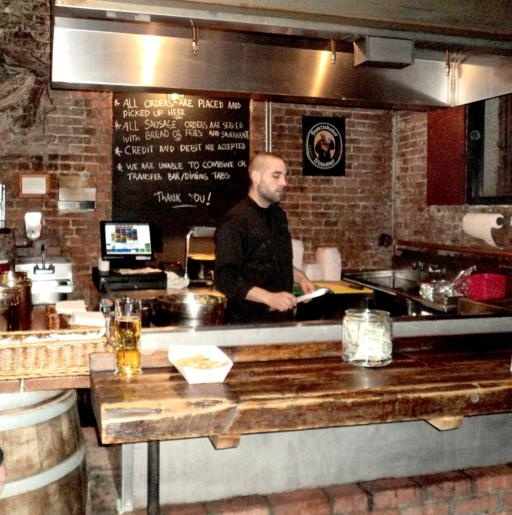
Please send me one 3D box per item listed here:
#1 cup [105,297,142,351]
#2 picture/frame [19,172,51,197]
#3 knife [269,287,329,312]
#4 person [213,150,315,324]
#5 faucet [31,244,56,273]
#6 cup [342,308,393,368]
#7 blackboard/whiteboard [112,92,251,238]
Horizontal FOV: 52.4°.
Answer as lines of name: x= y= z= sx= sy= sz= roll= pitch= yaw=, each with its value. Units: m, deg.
cup: x=-0.344 y=0.168 z=1.358 sx=0.086 sy=0.130 sz=0.136 roll=0 pitch=11 yaw=-15
picture/frame: x=-1.728 y=-0.570 z=4.027 sx=0.249 sy=0.169 sz=0.023 roll=-1 pitch=3 yaw=-14
knife: x=0.148 y=0.196 z=2.305 sx=0.409 sy=0.050 sz=0.057 roll=-19 pitch=-14 yaw=32
person: x=0.043 y=-0.088 z=2.559 sx=0.511 sy=0.848 sz=0.777 roll=4 pitch=11 yaw=6
faucet: x=-1.553 y=0.013 z=3.774 sx=0.148 sy=0.233 sz=0.236 roll=1 pitch=11 yaw=-9
cup: x=0.311 y=0.224 z=1.447 sx=0.172 sy=0.146 sz=0.157 roll=1 pitch=-4 yaw=0
blackboard/whiteboard: x=-0.650 y=-0.741 z=4.100 sx=1.559 sy=1.368 sz=0.076 roll=-1 pitch=4 yaw=-16
